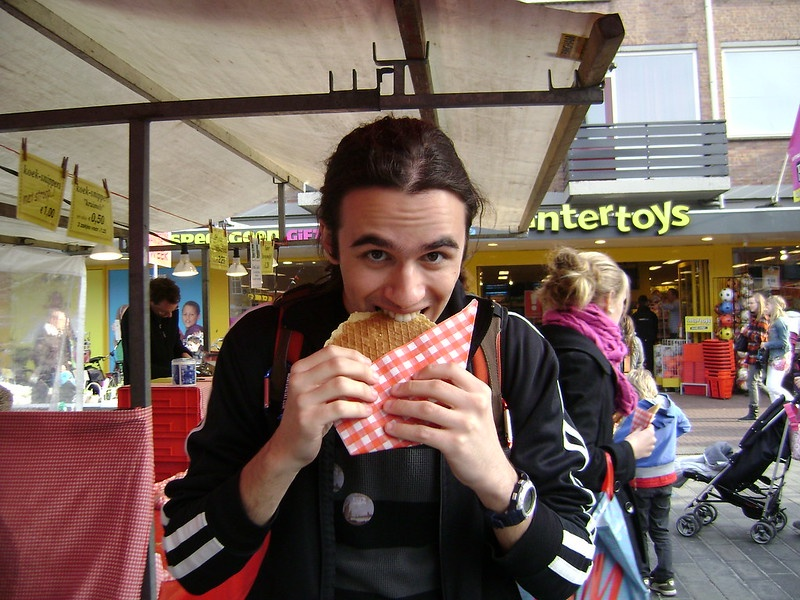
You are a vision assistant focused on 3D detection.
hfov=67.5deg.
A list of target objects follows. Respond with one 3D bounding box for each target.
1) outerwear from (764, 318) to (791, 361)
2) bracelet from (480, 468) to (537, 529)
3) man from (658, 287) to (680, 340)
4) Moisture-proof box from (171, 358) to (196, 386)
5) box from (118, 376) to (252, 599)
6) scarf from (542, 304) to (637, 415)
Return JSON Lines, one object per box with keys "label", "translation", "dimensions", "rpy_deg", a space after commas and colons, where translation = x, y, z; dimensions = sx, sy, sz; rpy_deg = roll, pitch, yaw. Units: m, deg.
{"label": "outerwear", "translation": [6.781, 0.672, 10.751], "dimensions": [0.387, 0.820, 0.310], "rpy_deg": [-3, -1, 30]}
{"label": "bracelet", "translation": [0.426, 0.741, 2.274], "dimensions": [0.195, 0.188, 0.200], "rpy_deg": [-3, -37, 33]}
{"label": "man", "translation": [7.730, 0.339, 17.073], "dimensions": [0.479, 1.454, 1.486], "rpy_deg": [-3, -1, 22]}
{"label": "Moisture-proof box", "translation": [-2.202, 0.738, 6.209], "dimensions": [0.290, 0.249, 0.262], "rpy_deg": [0, -3, -13]}
{"label": "box", "translation": [-1.963, 1.258, 5.436], "dimensions": [1.004, 1.949, 1.284], "rpy_deg": [-5, -6, 22]}
{"label": "scarf", "translation": [1.269, 0.392, 3.950], "dimensions": [0.659, 0.705, 0.364], "rpy_deg": [5, 2, 27]}
